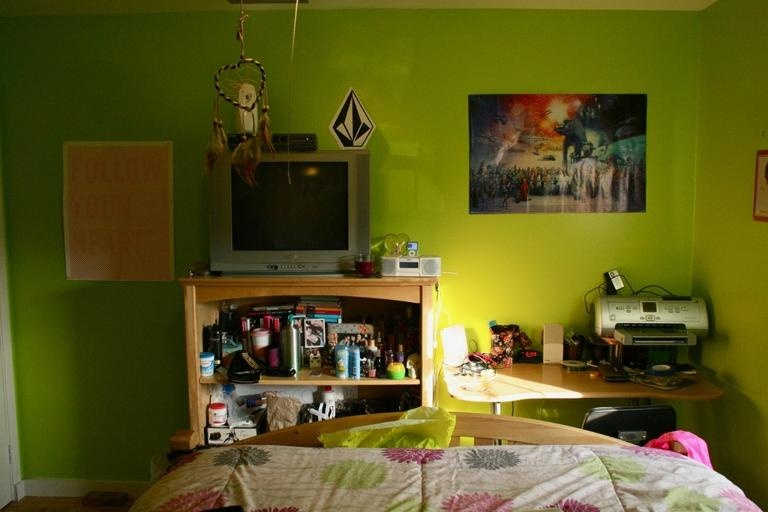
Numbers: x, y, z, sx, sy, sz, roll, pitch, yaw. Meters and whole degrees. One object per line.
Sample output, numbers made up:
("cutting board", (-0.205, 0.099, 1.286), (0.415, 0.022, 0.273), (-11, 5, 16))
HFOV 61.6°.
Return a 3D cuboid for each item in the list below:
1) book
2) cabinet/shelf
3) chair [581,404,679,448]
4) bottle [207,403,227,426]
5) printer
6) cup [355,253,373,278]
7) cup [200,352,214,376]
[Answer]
("book", (-0.584, 0.476, 4.530), (0.860, 0.408, 0.580), (-1, 5, 3))
("cabinet/shelf", (-0.451, 0.628, 4.029), (1.136, 0.985, 0.352), (1, 9, 0))
("chair", (1.361, 0.910, 3.541), (0.374, 0.334, 0.253), (0, 7, 0))
("bottle", (-1.072, 1.015, 4.183), (0.141, 0.114, 0.139), (2, 5, 19))
("printer", (1.754, 0.420, 4.175), (0.701, 0.483, 0.483), (-1, 2, 7))
("cup", (-0.126, 0.061, 4.047), (0.129, 0.138, 0.138), (1, -6, 0))
("cup", (-1.114, 0.686, 4.133), (0.132, 0.125, 0.126), (1, 8, 0))
